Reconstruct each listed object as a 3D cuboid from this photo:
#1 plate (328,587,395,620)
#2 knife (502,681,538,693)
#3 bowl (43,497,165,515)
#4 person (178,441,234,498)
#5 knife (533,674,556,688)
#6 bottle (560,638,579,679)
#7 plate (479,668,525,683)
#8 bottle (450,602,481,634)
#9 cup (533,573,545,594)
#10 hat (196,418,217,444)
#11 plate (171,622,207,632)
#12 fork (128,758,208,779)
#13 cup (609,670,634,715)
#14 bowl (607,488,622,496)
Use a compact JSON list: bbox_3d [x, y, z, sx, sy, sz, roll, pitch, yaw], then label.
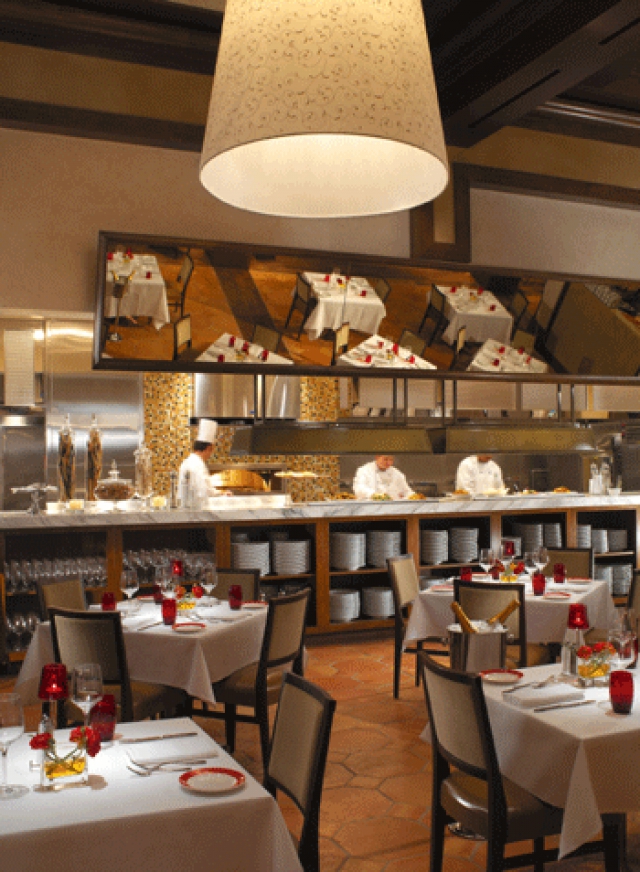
[{"bbox_3d":[0.367,1.520,6.413,0.546,0.213,0.316,2,-6,-10],"label":"plate"},{"bbox_3d":[0.712,0.904,2.541,0.180,0.018,0.020,7,8,-45],"label":"knife"},{"bbox_3d":[-1.728,0.573,5.837,0.956,0.137,0.781,3,-4,-19],"label":"bowl"},{"bbox_3d":[-1.221,0.365,7.503,0.423,0.727,0.532,-4,7,-35],"label":"person"},{"bbox_3d":[0.835,0.915,2.630,0.048,0.010,0.046,-14,-1,1],"label":"knife"},{"bbox_3d":[0.946,0.853,2.686,0.056,0.127,0.097,1,-4,17],"label":"bottle"},{"bbox_3d":[0.688,0.913,2.686,0.156,0.016,0.205,1,-4,13],"label":"plate"},{"bbox_3d":[0.613,0.756,2.982,0.104,0.127,0.259,1,-4,13],"label":"bottle"},{"bbox_3d":[1.441,0.961,4.617,0.102,0.164,0.115,-1,-4,17],"label":"cup"},{"bbox_3d":[-1.250,-0.051,7.875,0.303,0.320,0.292,3,0,-6],"label":"hat"},{"bbox_3d":[-0.647,0.953,3.513,0.159,0.025,0.176,2,-4,-7],"label":"plate"},{"bbox_3d":[-0.395,0.864,1.851,0.205,0.024,0.060,0,3,-26],"label":"fork"},{"bbox_3d":[0.975,0.831,2.300,0.067,0.123,0.112,0,-4,21],"label":"cup"},{"bbox_3d":[3.133,0.588,7.580,0.099,0.070,0.099,1,-2,0],"label":"bowl"}]
